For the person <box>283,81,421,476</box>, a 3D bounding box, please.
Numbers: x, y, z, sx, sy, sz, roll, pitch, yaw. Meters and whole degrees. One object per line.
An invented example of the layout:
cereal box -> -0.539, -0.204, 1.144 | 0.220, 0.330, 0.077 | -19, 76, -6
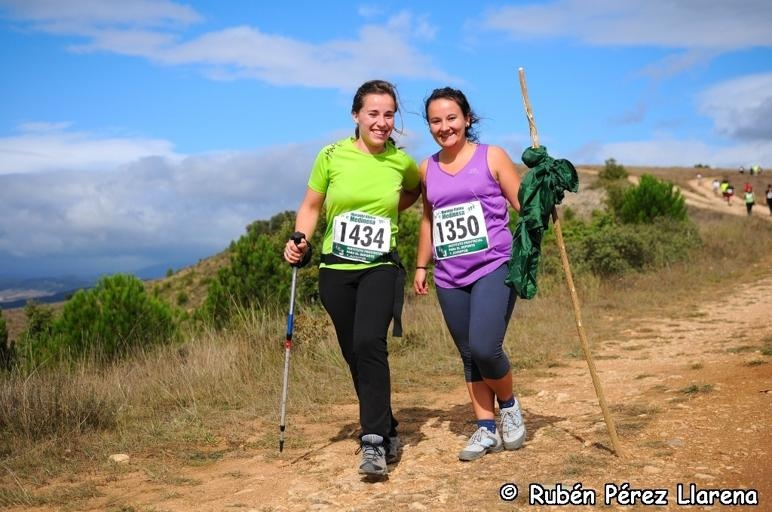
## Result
person -> -0.217, 0.238, 6.862 | 1.292, 4.185, 1.137 | -3, 8, 5
